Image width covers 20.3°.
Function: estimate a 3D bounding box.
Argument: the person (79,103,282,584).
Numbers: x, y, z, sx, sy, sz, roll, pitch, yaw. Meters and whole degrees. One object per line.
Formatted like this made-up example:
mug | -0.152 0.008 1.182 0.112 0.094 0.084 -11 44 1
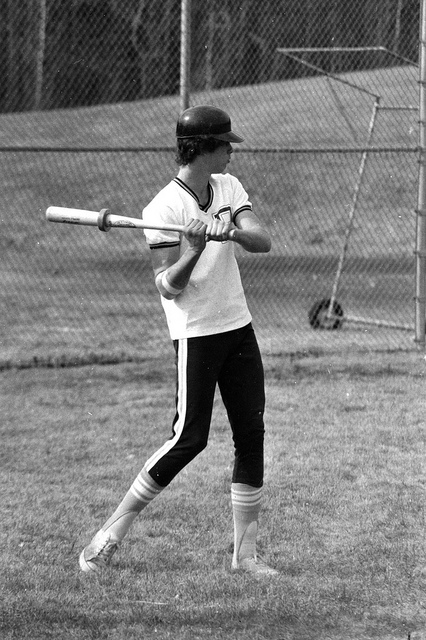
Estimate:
person | -0.027 0.042 4.383 0.677 1.637 1.022 5 9 4
